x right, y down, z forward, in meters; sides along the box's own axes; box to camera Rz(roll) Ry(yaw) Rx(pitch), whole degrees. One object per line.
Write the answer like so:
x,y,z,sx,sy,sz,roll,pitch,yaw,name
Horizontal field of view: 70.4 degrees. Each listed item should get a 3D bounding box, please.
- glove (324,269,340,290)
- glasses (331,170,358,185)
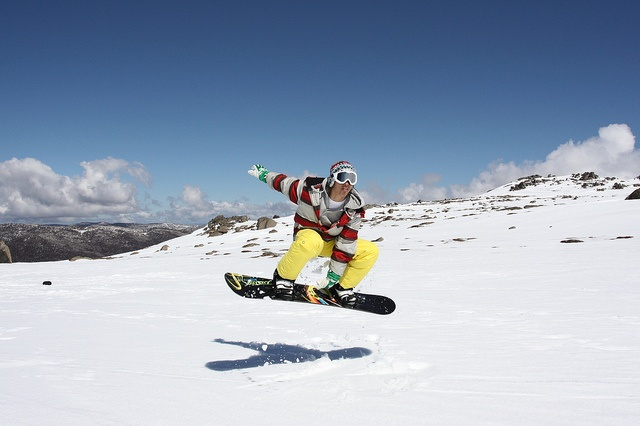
0.232,1.249,8.452,0.365,0.296,0.283,2,0,-20,glove
0.445,-0.614,7.999,0.423,0.187,0.223,-1,1,12,glasses
